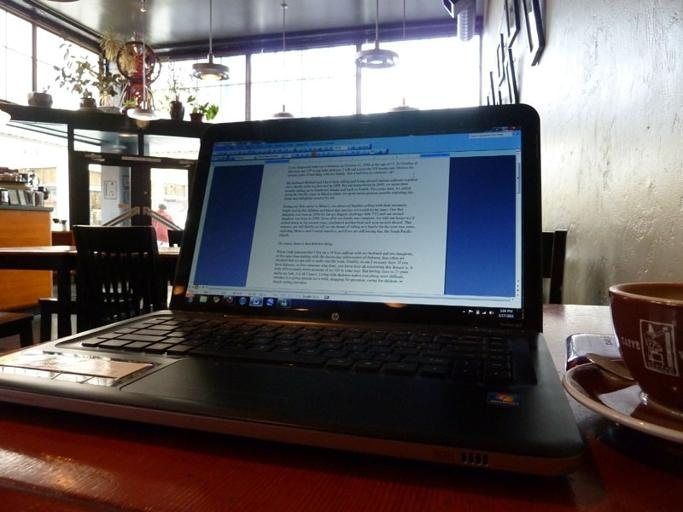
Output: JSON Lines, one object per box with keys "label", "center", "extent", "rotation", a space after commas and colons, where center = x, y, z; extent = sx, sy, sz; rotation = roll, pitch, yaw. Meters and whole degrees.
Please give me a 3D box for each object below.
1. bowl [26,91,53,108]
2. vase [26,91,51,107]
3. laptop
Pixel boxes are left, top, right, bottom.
{"label": "bowl", "center": [-3.350, -1.735, 5.760], "extent": [0.158, 0.136, 0.201], "rotation": [3, 7, -23]}
{"label": "vase", "center": [-3.346, -1.737, 5.759], "extent": [0.155, 0.135, 0.197], "rotation": [4, 6, -26]}
{"label": "laptop", "center": [0.020, 0.039, 0.605], "extent": [0.513, 0.294, 0.430], "rotation": [4, -1, 22]}
